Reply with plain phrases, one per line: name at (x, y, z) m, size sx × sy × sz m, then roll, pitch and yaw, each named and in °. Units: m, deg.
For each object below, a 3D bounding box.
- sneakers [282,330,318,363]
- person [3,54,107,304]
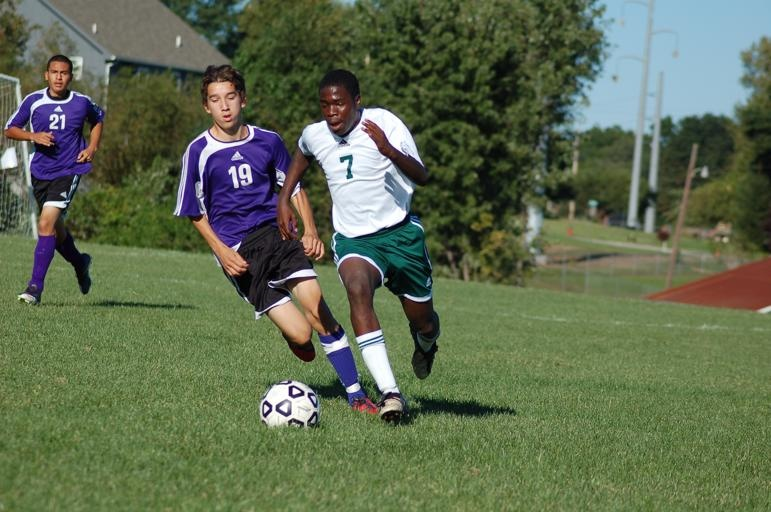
sneakers at (-1.142, 1.192, 12.982) m, size 0.163 × 0.542 × 0.214 m, roll -32°, pitch 15°, yaw 33°
person at (-5.099, -1.191, 15.100) m, size 1.292 × 3.769 × 1.014 m, roll 4°, pitch 4°, yaw -17°
